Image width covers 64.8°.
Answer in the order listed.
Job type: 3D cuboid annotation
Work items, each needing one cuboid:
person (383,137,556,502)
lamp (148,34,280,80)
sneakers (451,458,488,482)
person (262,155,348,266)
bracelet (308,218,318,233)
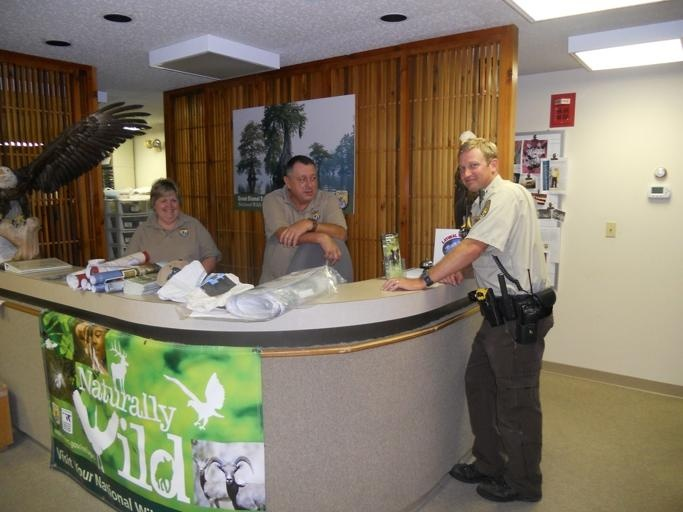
[{"bbox_3d":[1.048,0.456,3.714,0.855,2.499,0.553,1,10,9],"label":"person"},{"bbox_3d":[-1.155,-1.889,5.154,0.882,0.192,0.944,6,11,34],"label":"lamp"},{"bbox_3d":[0.908,1.568,3.927,0.294,0.126,0.114,5,5,6],"label":"sneakers"},{"bbox_3d":[-0.260,-0.408,4.207,0.591,0.759,0.957,-13,23,-22],"label":"person"},{"bbox_3d":[-0.217,-0.244,4.156,0.077,0.055,0.098,4,-8,1],"label":"bracelet"}]
